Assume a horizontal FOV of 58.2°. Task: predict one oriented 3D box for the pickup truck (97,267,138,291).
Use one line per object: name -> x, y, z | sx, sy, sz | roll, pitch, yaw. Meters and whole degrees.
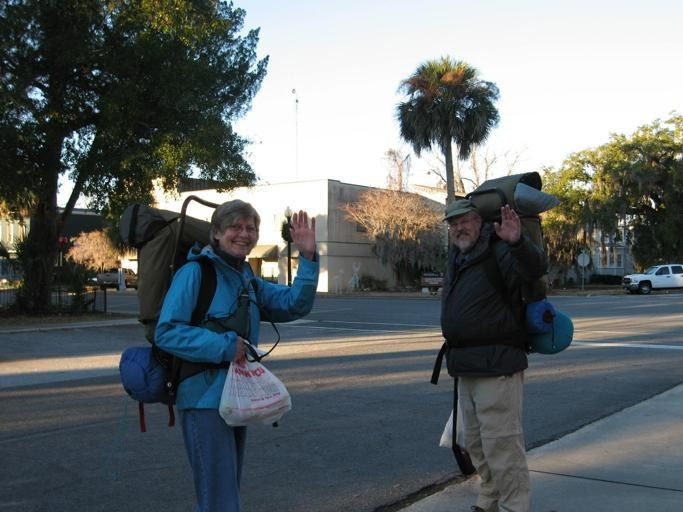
pickup truck -> -18.054, 1.864, 49.439 | 1.633, 1.315, 2.946 | 2, -7, -45
